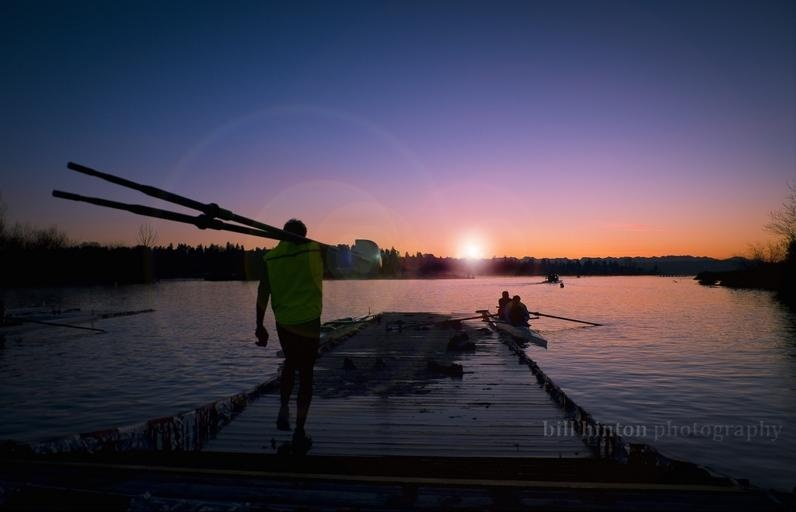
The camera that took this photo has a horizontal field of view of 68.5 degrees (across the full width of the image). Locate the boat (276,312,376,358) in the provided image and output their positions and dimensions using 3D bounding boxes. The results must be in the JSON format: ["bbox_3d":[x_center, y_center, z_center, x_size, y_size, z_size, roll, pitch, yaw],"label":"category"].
[{"bbox_3d":[-2.571,3.525,26.962,1.321,0.957,5.567,-4,3,7],"label":"boat"}]
